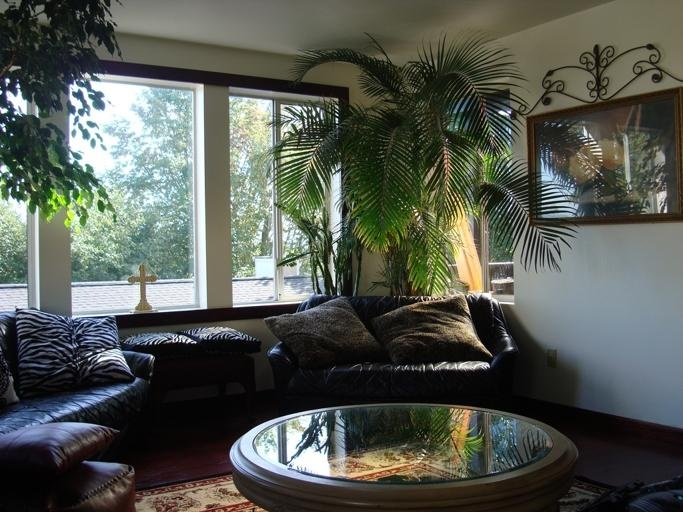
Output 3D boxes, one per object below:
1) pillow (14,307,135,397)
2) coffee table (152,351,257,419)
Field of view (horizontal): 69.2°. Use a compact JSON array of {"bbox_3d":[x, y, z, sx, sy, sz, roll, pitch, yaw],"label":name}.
[{"bbox_3d":[-1.758,0.684,3.276,0.691,0.211,0.767,-9,47,-36],"label":"pillow"},{"bbox_3d":[-1.063,1.096,3.870,0.782,0.532,0.600,-1,-26,-20],"label":"coffee table"}]
